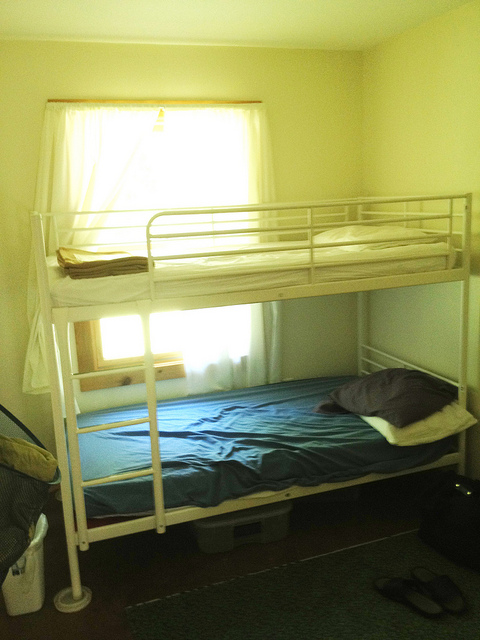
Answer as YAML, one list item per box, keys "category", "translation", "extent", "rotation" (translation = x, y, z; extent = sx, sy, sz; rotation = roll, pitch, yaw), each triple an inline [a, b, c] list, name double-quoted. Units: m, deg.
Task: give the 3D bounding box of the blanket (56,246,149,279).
- category: "blanket"
  translation: [-0.729, -0.302, 2.789]
  extent: [0.388, 0.141, 0.844]
  rotation: [-6, 8, -18]

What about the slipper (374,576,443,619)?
- category: "slipper"
  translation: [0.758, 1.247, 2.466]
  extent: [0.102, 0.052, 0.221]
  rotation: [-10, 14, -25]

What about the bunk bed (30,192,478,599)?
- category: "bunk bed"
  translation: [0.122, 0.185, 3.520]
  extent: [2.602, 1.904, 1.708]
  rotation: [-6, 9, -21]
